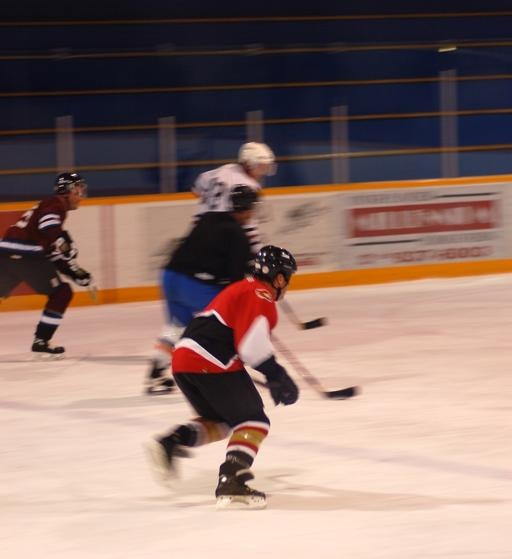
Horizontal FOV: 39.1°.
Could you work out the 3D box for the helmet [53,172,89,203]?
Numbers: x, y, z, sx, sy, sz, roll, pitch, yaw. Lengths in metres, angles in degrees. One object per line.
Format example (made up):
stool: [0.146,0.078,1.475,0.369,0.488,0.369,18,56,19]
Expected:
helmet: [-1.362,-0.703,5.380,0.281,0.188,0.197,-5,24,-19]

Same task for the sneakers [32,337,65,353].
sneakers: [-1.479,0.475,5.132,0.213,0.140,0.187,-4,8,-12]

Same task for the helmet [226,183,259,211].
helmet: [-0.056,-0.406,3.626,0.178,0.133,0.162,10,21,2]

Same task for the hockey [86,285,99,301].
hockey: [-1.534,0.114,6.714,0.049,0.142,0.205,-17,-37,4]

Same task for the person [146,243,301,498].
person: [-0.105,0.348,2.579,0.530,0.906,0.496,-3,9,2]
